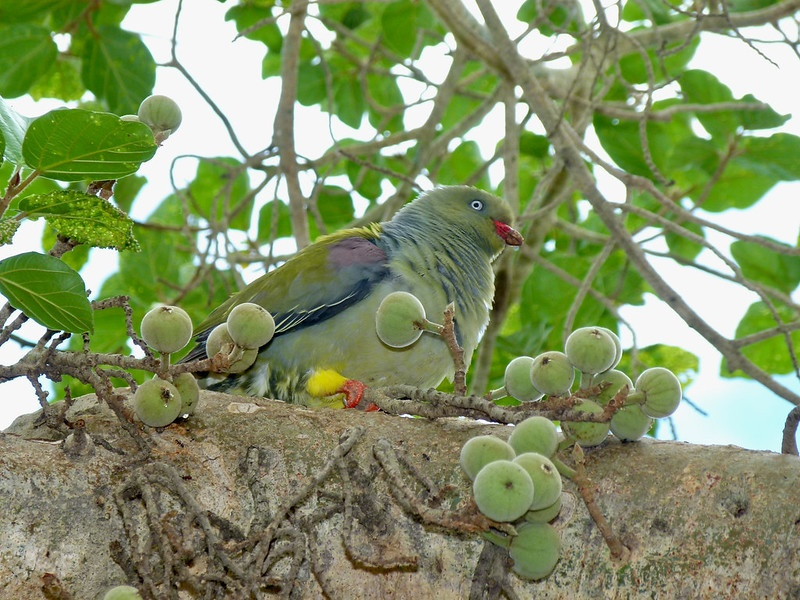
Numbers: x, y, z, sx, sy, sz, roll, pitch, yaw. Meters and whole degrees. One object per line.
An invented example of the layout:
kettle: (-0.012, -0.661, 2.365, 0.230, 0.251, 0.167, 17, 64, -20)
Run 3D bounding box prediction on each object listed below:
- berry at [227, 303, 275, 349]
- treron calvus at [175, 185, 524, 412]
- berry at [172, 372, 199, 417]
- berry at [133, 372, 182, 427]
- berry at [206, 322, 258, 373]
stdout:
berry: (-0.584, 0.101, 5.175, 0.183, 0.194, 0.183, 5, 2, 25)
treron calvus: (-0.269, 0.126, 7.006, 1.683, 1.166, 0.976, 4, -25, -6)
berry: (-0.819, 0.354, 5.097, 0.133, 0.173, 0.138, -3, -2, 17)
berry: (-0.938, 0.399, 5.081, 0.165, 0.170, 0.202, -11, -14, -17)
berry: (-0.664, 0.190, 5.148, 0.178, 0.188, 0.187, 9, -3, -22)
